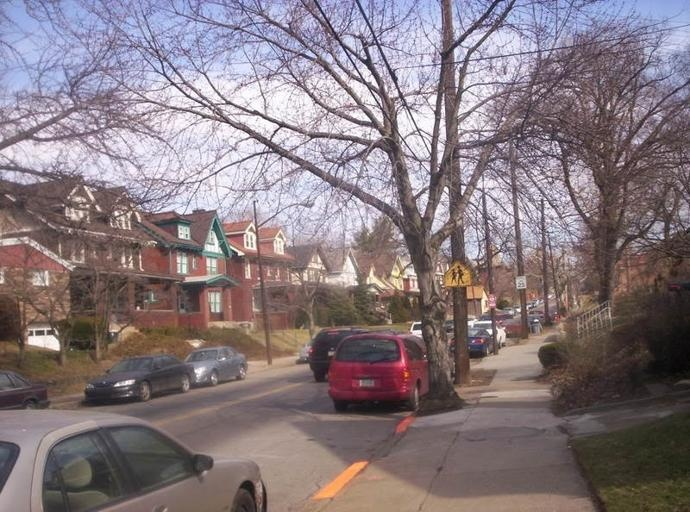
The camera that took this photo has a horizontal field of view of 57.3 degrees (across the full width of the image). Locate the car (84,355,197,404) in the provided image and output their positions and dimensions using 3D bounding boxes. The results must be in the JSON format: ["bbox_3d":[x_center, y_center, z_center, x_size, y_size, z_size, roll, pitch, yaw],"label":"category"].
[{"bbox_3d":[-6.619,4.130,21.462,1.485,1.100,3.593,-6,-13,17],"label":"car"}]

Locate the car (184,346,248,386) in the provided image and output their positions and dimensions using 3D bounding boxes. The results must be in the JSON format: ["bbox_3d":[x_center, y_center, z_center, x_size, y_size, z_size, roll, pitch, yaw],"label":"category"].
[{"bbox_3d":[-5.259,4.403,25.341,1.127,0.895,2.621,-5,-12,15],"label":"car"}]
